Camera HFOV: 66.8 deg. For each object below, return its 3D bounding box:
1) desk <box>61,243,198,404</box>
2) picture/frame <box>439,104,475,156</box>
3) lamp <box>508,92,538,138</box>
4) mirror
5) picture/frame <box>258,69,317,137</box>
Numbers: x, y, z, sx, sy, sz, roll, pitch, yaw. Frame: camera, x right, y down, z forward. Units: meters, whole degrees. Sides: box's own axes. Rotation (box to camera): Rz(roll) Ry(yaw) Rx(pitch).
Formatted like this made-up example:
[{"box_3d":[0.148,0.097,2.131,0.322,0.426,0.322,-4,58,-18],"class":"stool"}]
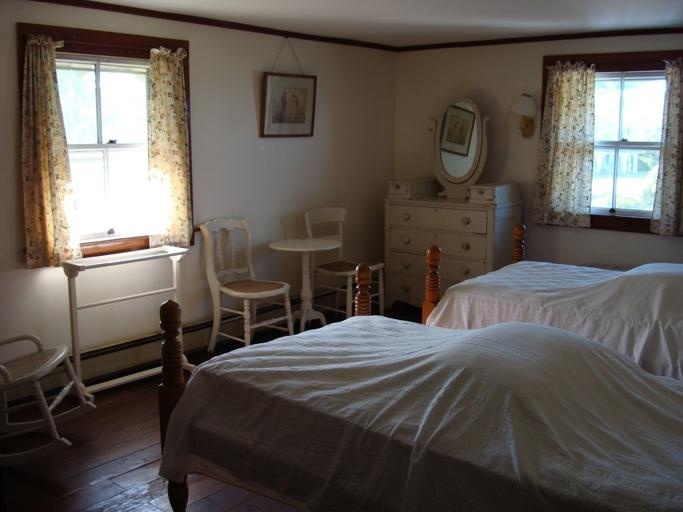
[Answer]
[{"box_3d":[-1.600,0.490,3.800,0.462,1.105,0.898,7,11,38],"class":"desk"},{"box_3d":[1.220,-1.320,5.439,0.411,0.633,0.042,13,11,40],"class":"picture/frame"},{"box_3d":[1.827,-1.414,5.252,0.262,0.450,0.238,4,13,20],"class":"lamp"},{"box_3d":[1.214,-1.183,5.425,0.562,0.859,0.264,4,13,21],"class":"mirror"},{"box_3d":[-0.543,-1.476,4.980,0.062,0.601,0.617,12,15,38],"class":"picture/frame"}]
